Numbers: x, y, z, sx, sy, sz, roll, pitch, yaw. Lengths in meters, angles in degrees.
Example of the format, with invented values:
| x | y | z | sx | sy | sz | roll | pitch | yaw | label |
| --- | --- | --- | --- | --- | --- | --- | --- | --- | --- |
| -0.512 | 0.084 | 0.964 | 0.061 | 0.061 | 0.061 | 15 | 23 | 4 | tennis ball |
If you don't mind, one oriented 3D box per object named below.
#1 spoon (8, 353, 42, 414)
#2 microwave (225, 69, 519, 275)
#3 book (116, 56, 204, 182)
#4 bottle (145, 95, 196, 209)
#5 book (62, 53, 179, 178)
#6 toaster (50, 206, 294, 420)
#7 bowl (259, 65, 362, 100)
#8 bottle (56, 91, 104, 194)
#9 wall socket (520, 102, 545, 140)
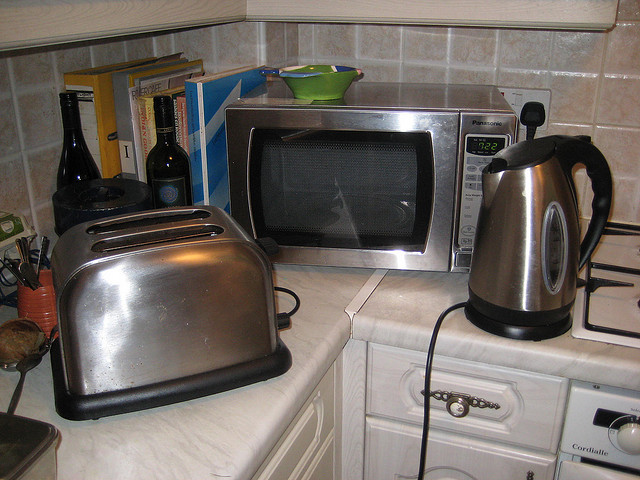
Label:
| x | y | z | sx | sy | sz | roll | pitch | yaw | label |
| --- | --- | --- | --- | --- | --- | --- | --- | --- | --- |
| -0.476 | 0.228 | 0.838 | 0.025 | 0.004 | 0.087 | 20 | 37 | -22 | spoon |
| 0.118 | -0.165 | 1.208 | 0.587 | 0.383 | 0.346 | 4 | 37 | 7 | microwave |
| -0.347 | -0.245 | 1.133 | 0.076 | 0.202 | 0.230 | 6 | 23 | 16 | book |
| -0.316 | -0.178 | 1.083 | 0.088 | 0.225 | 0.062 | -9 | 21 | -16 | bottle |
| -0.431 | -0.254 | 1.125 | 0.084 | 0.203 | 0.236 | 0 | 23 | 14 | book |
| -0.246 | 0.103 | 0.835 | 0.356 | 0.272 | 0.185 | -11 | 21 | -22 | toaster |
| -0.003 | -0.343 | 1.103 | 0.191 | 0.073 | 0.194 | -2 | 22 | 1 | bowl |
| -0.510 | -0.200 | 1.081 | 0.083 | 0.193 | 0.068 | -12 | 22 | -24 | bottle |
| 0.527 | -0.281 | 1.327 | 0.061 | 0.128 | 0.017 | 10 | -23 | 14 | wall socket |
